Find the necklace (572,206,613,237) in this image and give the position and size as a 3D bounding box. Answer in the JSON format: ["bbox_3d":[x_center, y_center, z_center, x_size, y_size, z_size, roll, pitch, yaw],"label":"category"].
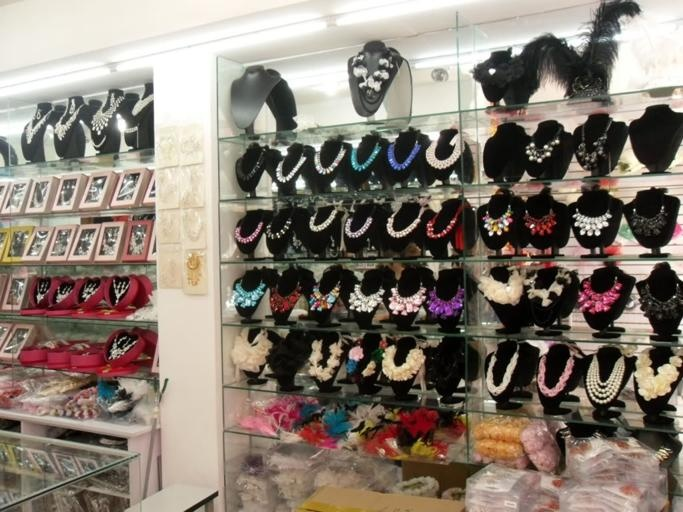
[{"bbox_3d":[1.101,-0.146,2.339,0.141,0.110,0.057,-2,-13,40],"label":"necklace"}]

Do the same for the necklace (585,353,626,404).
[{"bbox_3d":[1.223,0.530,2.425,0.181,0.067,0.300,-23,11,30],"label":"necklace"}]

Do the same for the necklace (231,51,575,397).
[{"bbox_3d":[0.372,-0.159,2.775,1.896,1.732,0.612,0,-2,25],"label":"necklace"}]

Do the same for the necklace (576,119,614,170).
[{"bbox_3d":[1.144,-0.514,2.397,0.119,0.230,0.142,-1,1,-34],"label":"necklace"}]
